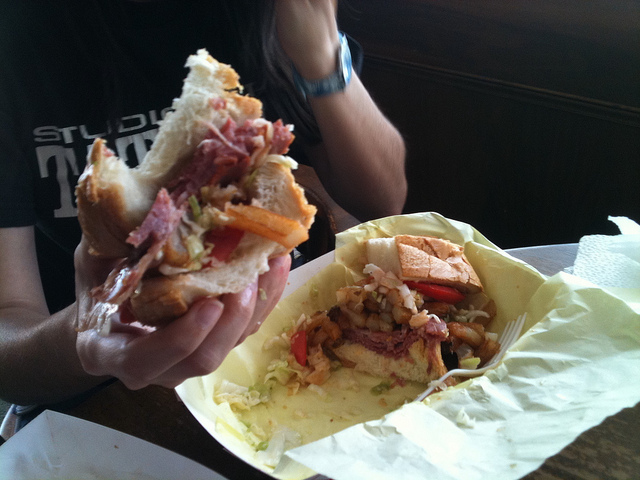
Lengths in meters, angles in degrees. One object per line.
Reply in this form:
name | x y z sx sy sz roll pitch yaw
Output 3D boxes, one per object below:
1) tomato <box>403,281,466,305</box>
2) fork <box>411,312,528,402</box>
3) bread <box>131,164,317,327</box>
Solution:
tomato | 0.637 0.281 2.763 0.205 0.159 0.057 13 93 -6
fork | 0.700 0.566 2.411 0.566 0.083 0.067 -40 24 -7
bread | -0.350 -0.140 2.038 0.602 0.637 0.209 16 48 6
